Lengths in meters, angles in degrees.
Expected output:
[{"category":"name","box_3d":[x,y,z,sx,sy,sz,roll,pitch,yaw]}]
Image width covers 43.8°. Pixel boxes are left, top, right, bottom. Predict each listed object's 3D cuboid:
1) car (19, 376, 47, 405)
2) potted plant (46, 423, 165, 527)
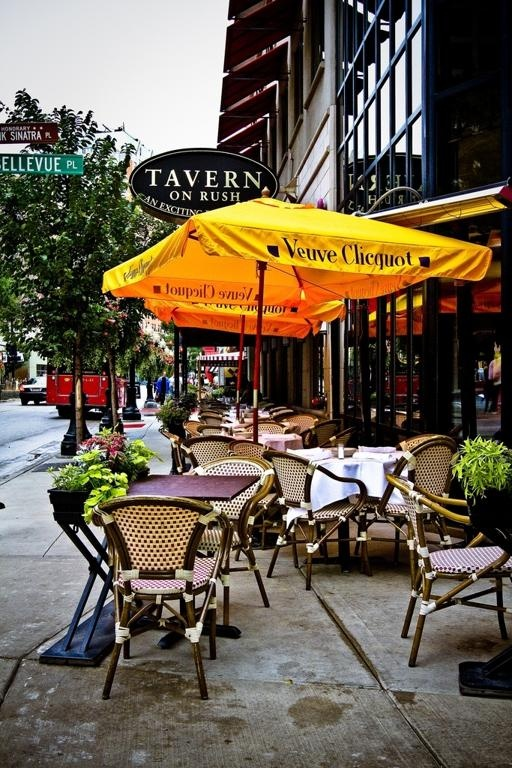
[{"category":"car","box_3d":[-15.048,0.448,43.326,1.435,2.158,5.873,2,-4,-17]},{"category":"potted plant","box_3d":[-0.815,0.458,3.404,0.457,0.470,0.516,-4,7,4]}]
